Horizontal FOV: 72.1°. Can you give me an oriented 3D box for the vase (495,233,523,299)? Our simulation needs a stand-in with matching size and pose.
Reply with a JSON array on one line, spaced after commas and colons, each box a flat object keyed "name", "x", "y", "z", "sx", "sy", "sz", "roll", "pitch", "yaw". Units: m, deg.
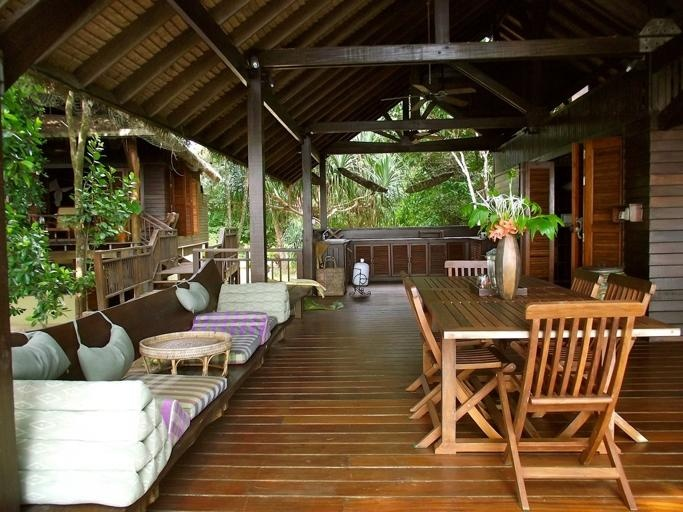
[{"name": "vase", "x": 1.304, "y": 0.091, "z": 3.659, "sx": 0.188, "sy": 0.471, "sz": 0.211, "roll": 5, "pitch": 3, "yaw": -2}]

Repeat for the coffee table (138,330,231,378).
[{"name": "coffee table", "x": -1.177, "y": 0.702, "z": 3.658, "sx": 0.645, "sy": 0.313, "sz": 0.621, "roll": 4, "pitch": 4, "yaw": -6}]

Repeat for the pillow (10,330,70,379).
[{"name": "pillow", "x": -1.695, "y": 0.579, "z": 2.642, "sx": 0.306, "sy": 0.240, "sz": 0.371, "roll": 4, "pitch": 4, "yaw": -7}]

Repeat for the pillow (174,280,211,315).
[{"name": "pillow", "x": -1.456, "y": 0.411, "z": 4.629, "sx": 0.240, "sy": 0.239, "sz": 0.580, "roll": -3, "pitch": 2, "yaw": 6}]

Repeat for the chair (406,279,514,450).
[{"name": "chair", "x": 0.864, "y": 0.738, "z": 3.633, "sx": 0.805, "sy": 1.133, "sz": 0.782, "roll": 3, "pitch": 5, "yaw": 5}]

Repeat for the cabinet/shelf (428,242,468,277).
[{"name": "cabinet/shelf", "x": 2.182, "y": 0.051, "z": 9.603, "sx": 0.816, "sy": 0.703, "sz": 0.303, "roll": -1, "pitch": -1, "yaw": 1}]
